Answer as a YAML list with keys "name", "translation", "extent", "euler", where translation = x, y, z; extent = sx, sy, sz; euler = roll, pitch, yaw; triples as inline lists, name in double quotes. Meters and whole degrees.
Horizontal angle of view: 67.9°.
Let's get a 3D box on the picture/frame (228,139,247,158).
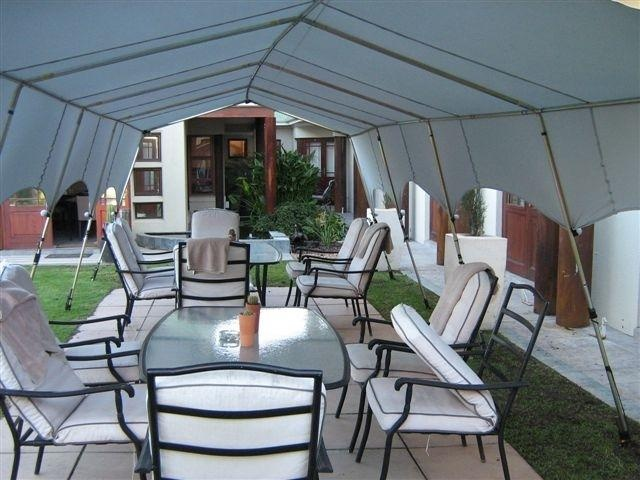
- name: "picture/frame"
  translation: [-2.962, -3.301, 17.186]
  extent: [0.677, 0.661, 0.101]
  euler: [-2, 5, -21]
